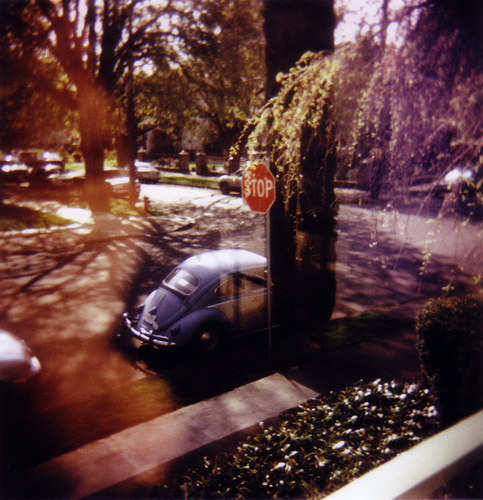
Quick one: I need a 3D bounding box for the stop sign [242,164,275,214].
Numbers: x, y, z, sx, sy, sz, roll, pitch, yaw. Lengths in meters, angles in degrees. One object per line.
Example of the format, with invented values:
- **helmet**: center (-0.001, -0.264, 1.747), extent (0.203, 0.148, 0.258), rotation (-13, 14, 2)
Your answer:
- **stop sign**: center (0.189, -0.695, 5.819), extent (0.380, 0.531, 0.312), rotation (1, 11, 4)
